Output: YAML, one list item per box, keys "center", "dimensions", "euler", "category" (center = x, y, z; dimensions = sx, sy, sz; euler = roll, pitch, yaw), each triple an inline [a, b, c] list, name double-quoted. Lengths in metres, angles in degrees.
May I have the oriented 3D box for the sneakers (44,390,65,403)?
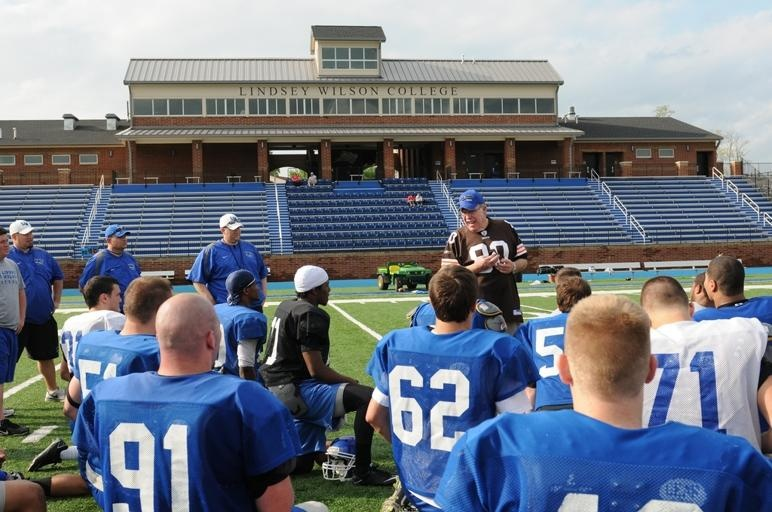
- center: [-5.823, 2.485, 18.226]
  dimensions: [0.391, 0.163, 0.150]
  euler: [1, 7, -9]
  category: "sneakers"

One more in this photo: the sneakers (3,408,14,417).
- center: [-6.437, 2.697, 17.704]
  dimensions: [0.241, 0.094, 0.083]
  euler: [-5, -1, 12]
  category: "sneakers"

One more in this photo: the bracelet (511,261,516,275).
- center: [2.116, 0.202, 17.204]
  dimensions: [0.120, 0.168, 0.169]
  euler: [-2, 7, 5]
  category: "bracelet"

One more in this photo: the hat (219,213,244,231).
- center: [-2.804, -0.592, 18.601]
  dimensions: [0.315, 0.293, 0.307]
  euler: [-3, -2, 3]
  category: "hat"
